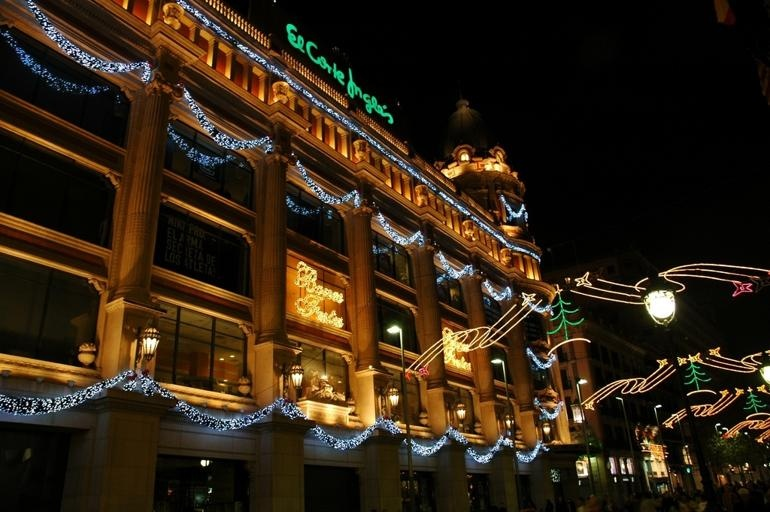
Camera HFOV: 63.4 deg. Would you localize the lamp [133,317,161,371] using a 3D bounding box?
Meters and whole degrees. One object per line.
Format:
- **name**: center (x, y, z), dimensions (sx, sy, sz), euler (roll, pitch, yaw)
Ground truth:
- **lamp**: center (-11.433, 4.388, 30.142), dimensions (1.053, 2.517, 1.308), euler (-2, -28, 3)
